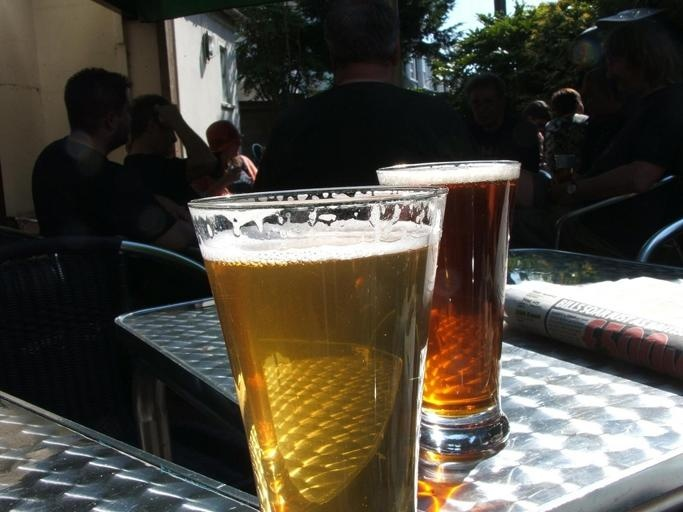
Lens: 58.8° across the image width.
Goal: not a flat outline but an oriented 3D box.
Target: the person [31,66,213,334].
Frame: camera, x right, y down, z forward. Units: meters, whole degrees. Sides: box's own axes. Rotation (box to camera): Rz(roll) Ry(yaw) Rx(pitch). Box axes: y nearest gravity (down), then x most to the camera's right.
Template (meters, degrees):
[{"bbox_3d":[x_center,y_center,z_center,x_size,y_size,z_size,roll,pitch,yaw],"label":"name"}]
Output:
[{"bbox_3d":[-1.036,-0.216,3.080,0.718,1.396,0.858,8,17,38],"label":"person"}]
